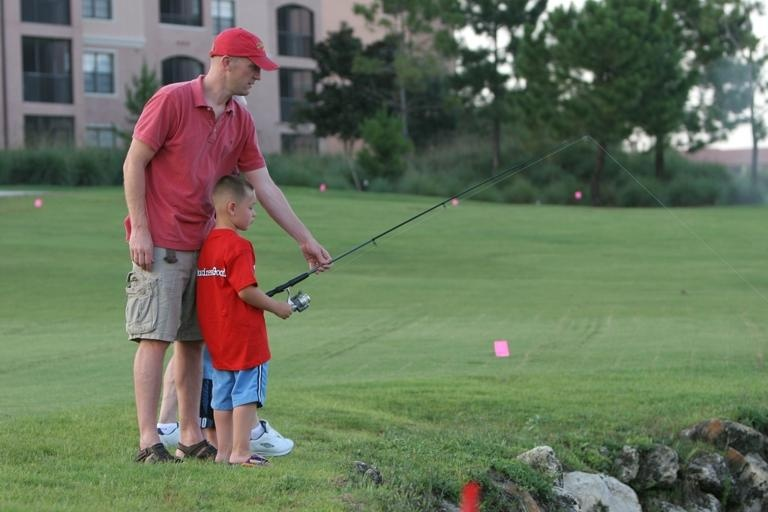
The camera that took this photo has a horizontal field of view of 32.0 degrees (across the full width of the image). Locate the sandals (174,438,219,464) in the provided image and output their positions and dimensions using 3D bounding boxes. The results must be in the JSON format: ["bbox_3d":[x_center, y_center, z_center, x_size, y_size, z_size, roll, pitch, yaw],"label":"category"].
[{"bbox_3d":[-1.341,1.405,9.667,0.325,0.129,0.113,3,-4,-2],"label":"sandals"}]

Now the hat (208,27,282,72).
[{"bbox_3d":[-1.007,-1.467,9.682,0.439,0.217,0.276,3,14,-12],"label":"hat"}]

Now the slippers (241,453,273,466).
[{"bbox_3d":[-0.919,1.455,9.645,0.162,0.054,0.086,1,1,-3],"label":"slippers"}]

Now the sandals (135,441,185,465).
[{"bbox_3d":[-1.625,1.416,9.629,0.273,0.107,0.142,-1,-5,8],"label":"sandals"}]

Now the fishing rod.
[{"bbox_3d":[0.388,-0.352,13.014,3.501,0.141,0.256,-23,17,-16],"label":"fishing rod"}]
